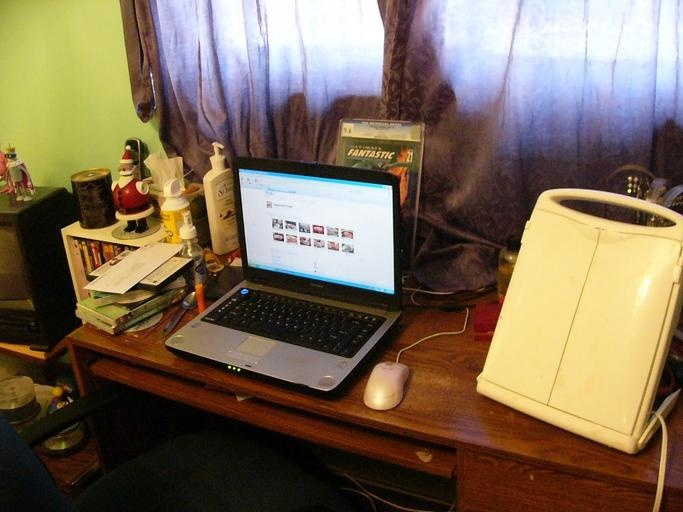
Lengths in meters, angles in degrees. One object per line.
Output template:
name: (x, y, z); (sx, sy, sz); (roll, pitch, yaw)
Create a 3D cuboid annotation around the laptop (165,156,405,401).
laptop: (-0.097, 0.039, 1.385); (0.597, 0.510, 0.500); (16, 32, 32)

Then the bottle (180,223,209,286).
bottle: (-0.388, 0.000, 1.458); (0.071, 0.190, 0.076); (-2, 21, 1)

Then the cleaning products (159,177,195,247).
cleaning products: (-0.481, -0.131, 1.558); (0.070, 0.238, 0.084); (3, 19, 13)

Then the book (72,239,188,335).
book: (-0.525, 0.066, 1.393); (0.217, 0.080, 0.239); (15, 37, 27)

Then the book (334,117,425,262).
book: (0.099, -0.202, 1.443); (0.234, 0.350, 0.126); (15, 32, 23)

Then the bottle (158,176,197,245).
bottle: (-0.415, -0.019, 1.488); (0.072, 0.200, 0.072); (0, 17, 0)

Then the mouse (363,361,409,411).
mouse: (0.089, 0.270, 1.117); (0.113, 0.080, 0.097); (2, 24, 11)

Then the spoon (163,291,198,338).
spoon: (-0.395, 0.151, 1.384); (0.039, 0.037, 0.139); (-7, 45, 50)

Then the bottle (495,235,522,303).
bottle: (0.411, 0.031, 1.368); (0.046, 0.167, 0.065); (9, 29, 31)

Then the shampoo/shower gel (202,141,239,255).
shampoo/shower gel: (-0.347, -0.158, 1.650); (0.094, 0.347, 0.123); (-20, 37, -34)

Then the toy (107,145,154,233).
toy: (-0.690, -0.227, 1.778); (0.120, 0.227, 0.326); (-8, 26, -21)
